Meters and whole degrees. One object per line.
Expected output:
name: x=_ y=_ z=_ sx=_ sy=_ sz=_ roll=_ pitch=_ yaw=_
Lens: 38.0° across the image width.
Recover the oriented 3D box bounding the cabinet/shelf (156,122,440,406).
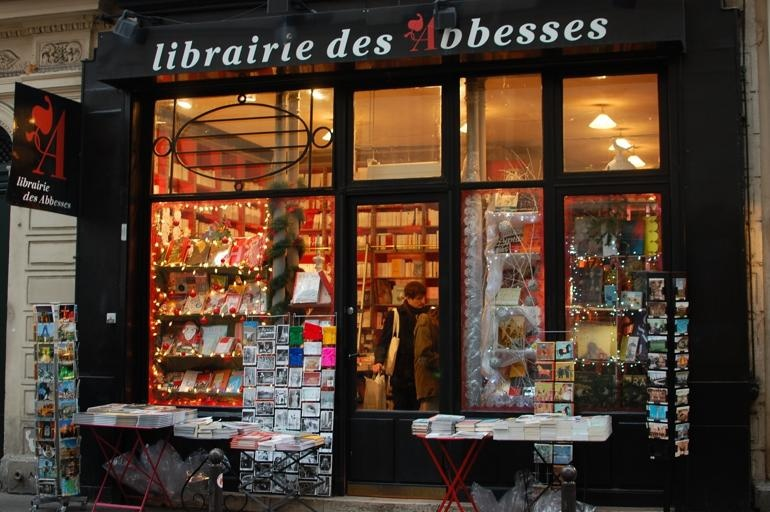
cabinet/shelf: x=-0.933 y=0.162 z=13.878 sx=3.419 sy=3.338 sz=1.226 roll=-1 pitch=1 yaw=8
